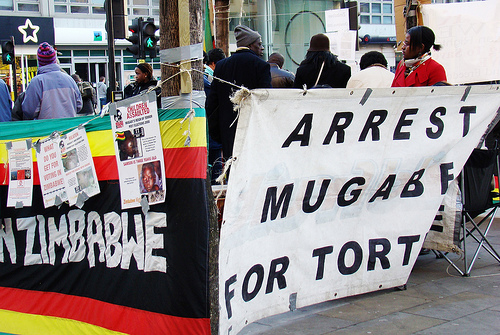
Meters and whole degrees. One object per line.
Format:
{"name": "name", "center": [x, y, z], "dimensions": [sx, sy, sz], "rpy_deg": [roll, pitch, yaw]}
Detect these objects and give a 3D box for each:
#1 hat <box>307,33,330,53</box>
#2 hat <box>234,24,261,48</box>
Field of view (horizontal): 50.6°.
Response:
{"name": "hat", "center": [1.013, -1.859, 7.748], "dimensions": [0.222, 0.300, 0.288], "rpy_deg": [6, 24, 1]}
{"name": "hat", "center": [-0.037, -1.893, 7.452], "dimensions": [0.336, 0.302, 0.258], "rpy_deg": [-7, 24, 22]}
